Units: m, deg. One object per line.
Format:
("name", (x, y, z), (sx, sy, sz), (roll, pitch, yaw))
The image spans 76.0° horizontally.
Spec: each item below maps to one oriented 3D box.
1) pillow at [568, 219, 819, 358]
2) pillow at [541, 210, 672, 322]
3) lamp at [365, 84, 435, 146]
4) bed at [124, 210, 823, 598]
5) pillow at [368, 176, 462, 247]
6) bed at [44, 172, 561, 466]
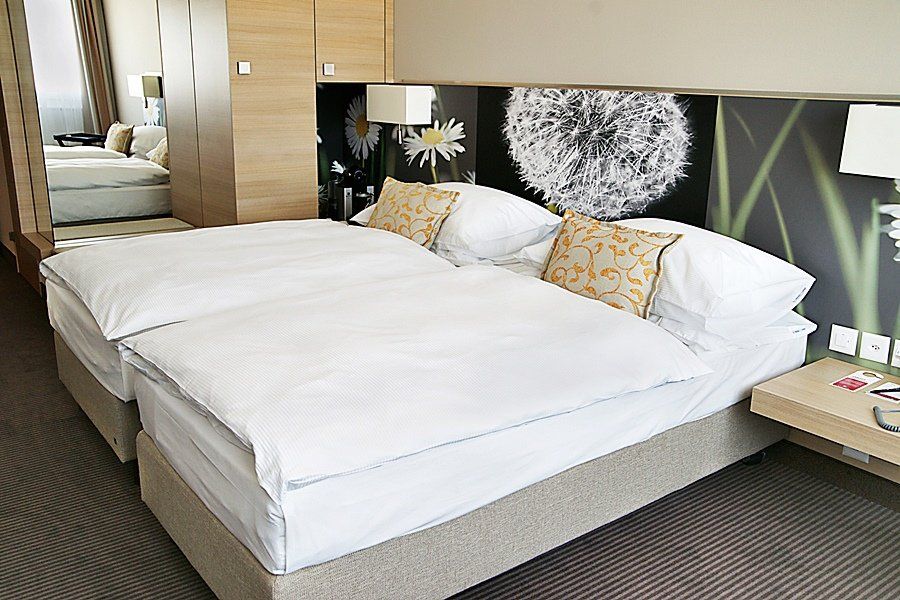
("pillow", (1.369, -0.009, 3.098), (0.860, 0.523, 0.258), (18, -15, -5))
("pillow", (0.838, -0.162, 3.045), (0.618, 0.408, 0.191), (14, -10, 46))
("lamp", (-0.393, -1.533, 4.743), (0.394, 0.599, 0.716), (-9, 15, -38))
("bed", (0.118, 0.384, 2.682), (2.752, 1.153, 1.181), (-11, 22, -29))
("pillow", (-0.255, -0.627, 3.956), (0.215, 0.469, 0.796), (26, -7, -40))
("bed", (-0.823, 0.045, 3.614), (2.583, 0.916, 1.597), (-8, 22, -31))
